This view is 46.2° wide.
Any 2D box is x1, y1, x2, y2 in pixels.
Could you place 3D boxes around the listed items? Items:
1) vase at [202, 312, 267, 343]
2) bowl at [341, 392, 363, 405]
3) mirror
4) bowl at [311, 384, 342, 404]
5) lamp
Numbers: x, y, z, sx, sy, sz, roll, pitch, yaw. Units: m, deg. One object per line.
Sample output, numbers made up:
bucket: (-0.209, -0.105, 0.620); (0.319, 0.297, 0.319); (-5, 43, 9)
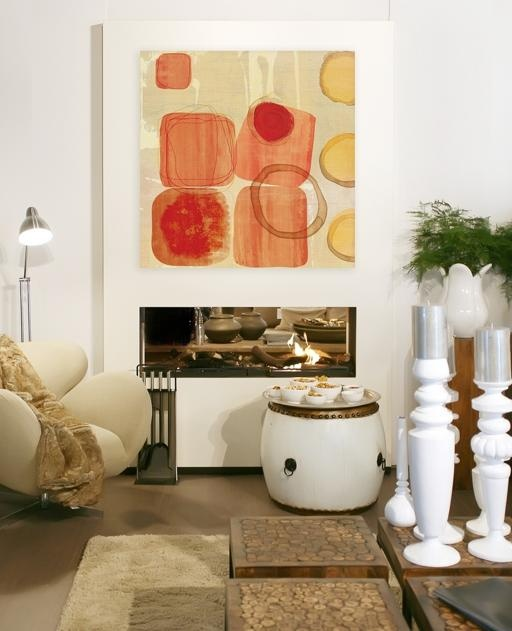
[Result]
vase: (-0.124, 0.069, 3.748); (0.329, 0.137, 0.187); (0, 2, -14)
bowl: (0.455, 0.378, 2.825); (0.069, 0.036, 0.067); (1, 3, 0)
mirror: (-0.053, 0.154, 3.637); (1.266, 0.406, 0.322); (0, 2, -2)
bowl: (0.349, 0.366, 2.888); (0.099, 0.060, 0.097); (1, 5, 0)
lamp: (-1.251, -0.233, 3.423); (0.187, 0.774, 0.431); (-1, 3, -22)
